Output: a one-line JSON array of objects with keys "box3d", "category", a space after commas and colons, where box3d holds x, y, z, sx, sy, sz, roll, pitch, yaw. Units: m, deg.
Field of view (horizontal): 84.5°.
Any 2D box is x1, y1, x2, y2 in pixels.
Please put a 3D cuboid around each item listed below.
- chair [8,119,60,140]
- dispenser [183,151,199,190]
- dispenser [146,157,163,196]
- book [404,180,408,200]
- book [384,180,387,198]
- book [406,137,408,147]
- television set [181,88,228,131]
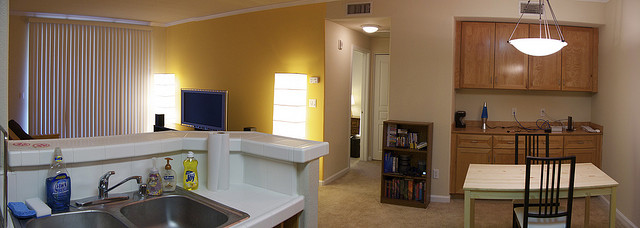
[{"box3d": [-9.107, 0.477, 10.976, 1.659, 0.649, 0.768, 0, 5, -24], "category": "chair"}, {"box3d": [-3.066, 1.321, 8.286, 0.349, 0.894, 0.189, -2, 7, -18], "category": "dispenser"}, {"box3d": [-3.863, 1.435, 8.171, 0.312, 0.878, 0.248, -4, 7, -30], "category": "dispenser"}, {"box3d": [2.552, 2.276, 10.566, 0.092, 0.556, 0.094, 0, 6, 3], "category": "book"}, {"box3d": [1.955, 2.251, 10.662, 0.077, 0.503, 0.091, 1, 6, 10], "category": "book"}, {"box3d": [2.605, 0.833, 10.675, 0.039, 0.246, 0.035, 0, 6, 2], "category": "book"}, {"box3d": [-4.080, -0.099, 12.398, 3.055, 1.520, 0.259, 6, 8, 41], "category": "television set"}]
